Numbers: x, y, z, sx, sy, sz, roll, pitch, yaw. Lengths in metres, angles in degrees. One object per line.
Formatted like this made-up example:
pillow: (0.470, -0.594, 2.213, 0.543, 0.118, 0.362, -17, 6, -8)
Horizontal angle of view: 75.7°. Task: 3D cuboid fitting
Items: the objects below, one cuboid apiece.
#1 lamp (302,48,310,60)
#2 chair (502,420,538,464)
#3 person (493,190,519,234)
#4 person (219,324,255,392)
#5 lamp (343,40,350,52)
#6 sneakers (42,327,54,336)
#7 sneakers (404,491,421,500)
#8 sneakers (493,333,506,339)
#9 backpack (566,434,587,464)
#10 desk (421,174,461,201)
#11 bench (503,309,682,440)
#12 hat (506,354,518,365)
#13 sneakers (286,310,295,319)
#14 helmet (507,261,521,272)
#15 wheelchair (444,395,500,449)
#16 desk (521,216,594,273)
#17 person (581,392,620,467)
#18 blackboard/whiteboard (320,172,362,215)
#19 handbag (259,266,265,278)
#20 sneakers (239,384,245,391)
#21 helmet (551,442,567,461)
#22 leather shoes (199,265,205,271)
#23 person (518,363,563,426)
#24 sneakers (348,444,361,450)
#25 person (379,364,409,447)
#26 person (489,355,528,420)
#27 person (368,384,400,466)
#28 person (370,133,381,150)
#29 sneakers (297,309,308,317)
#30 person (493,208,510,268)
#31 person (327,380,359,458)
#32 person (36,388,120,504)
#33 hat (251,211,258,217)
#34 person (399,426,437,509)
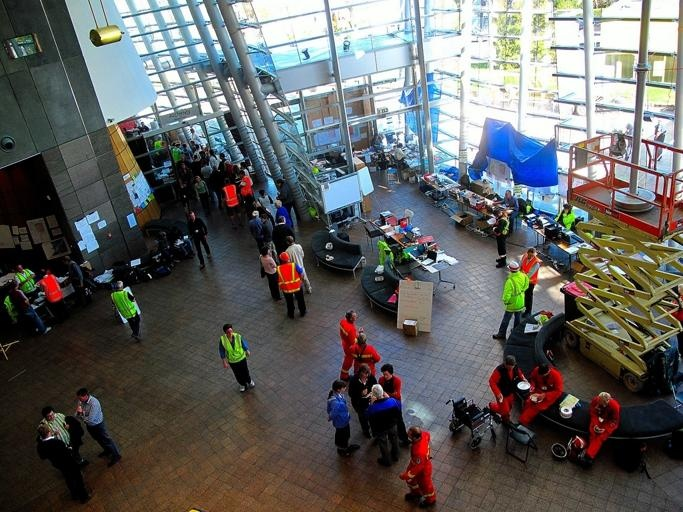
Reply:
lamp: (-1.491, -8.330, 18.201, 0.368, 0.354, 0.674, -3, 25, 8)
chair: (3.645, 3.646, 8.918, 0.565, 0.751, 0.497, -20, 22, -33)
person: (6.250, -1.721, 16.434, 0.759, 1.486, 0.759, 1, 16, 30)
person: (-2.605, 2.500, 10.874, 0.640, 1.711, 0.456, -19, 19, -17)
lamp: (0.216, -8.767, 18.365, 0.280, 0.463, 0.139, -3, -3, 4)
sneakers: (-9.956, 2.532, 14.933, 0.111, 0.227, 0.336, 10, 28, -10)
sneakers: (1.356, 4.596, 8.429, 0.343, 0.155, 0.125, -6, 44, -3)
sneakers: (4.196, 2.138, 11.701, 0.314, 0.142, 0.127, 8, 30, 16)
backpack: (4.607, 3.785, 8.730, 0.320, 0.462, 0.458, 5, 18, 13)
desk: (4.311, -2.979, 19.131, 1.058, 0.870, 1.977, -17, 28, -16)
bench: (5.179, 2.863, 9.541, 2.071, 0.462, 2.700, -26, 32, -32)
hat: (3.477, 2.147, 9.063, 0.181, 0.200, 0.226, 0, 28, 16)
sneakers: (-1.567, 1.819, 13.704, 0.240, 0.183, 0.232, -13, 27, -8)
helmet: (4.296, 0.287, 11.113, 0.260, 0.112, 0.289, -19, 33, -14)
wheelchair: (2.763, 3.409, 9.426, 0.809, 0.940, 1.139, 9, 32, 44)
desk: (6.641, -0.327, 13.433, 0.679, 0.816, 1.636, -13, 35, -8)
person: (5.036, 3.430, 8.551, 0.540, 1.258, 0.706, 36, 15, 38)
blackboard/whiteboard: (0.016, -2.467, 17.778, 1.665, 1.213, 0.228, -23, 32, -22)
handbag: (-2.506, 0.494, 14.089, 0.120, 0.388, 0.169, -18, 28, -17)
sneakers: (-2.565, 3.418, 11.448, 0.164, 0.160, 0.061, -1, -1, 14)
helmet: (4.381, 3.904, 8.860, 0.293, 0.147, 0.363, -2, 28, 12)
leather shoes: (-5.389, 0.458, 16.993, 0.258, 0.252, 0.157, -2, 21, 1)
person: (4.165, 2.954, 9.198, 1.044, 0.753, 0.620, -46, 44, -6)
sneakers: (0.289, 4.104, 9.507, 0.264, 0.088, 0.173, -3, -1, -24)
person: (1.085, 3.199, 9.412, 0.651, 1.899, 0.530, 6, 21, 39)
person: (3.462, 2.817, 9.296, 0.726, 1.698, 0.560, -12, 26, -9)
person: (0.867, 3.375, 8.924, 0.643, 1.683, 0.549, -11, 16, -17)
person: (1.823, -5.850, 22.613, 0.341, 0.866, 0.603, -2, 3, -42)
sneakers: (-1.198, 1.762, 13.700, 0.244, 0.197, 0.253, -10, 27, -4)
person: (5.366, -0.701, 14.791, 0.441, 1.587, 1.652, 1, 28, 19)
person: (0.012, 3.379, 9.314, 0.637, 1.655, 0.584, -11, 19, -16)
person: (-5.704, 4.063, 9.470, 0.894, 2.152, 1.166, -6, 27, 5)
hat: (-3.111, -1.521, 15.920, 0.181, 0.130, 0.252, -1, 10, -10)
person: (1.443, 4.078, 8.358, 0.614, 1.709, 0.777, -3, 47, 4)
